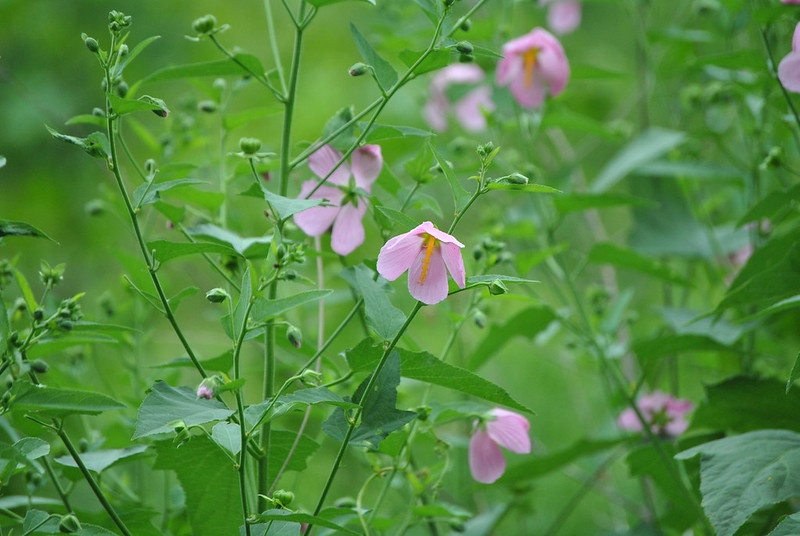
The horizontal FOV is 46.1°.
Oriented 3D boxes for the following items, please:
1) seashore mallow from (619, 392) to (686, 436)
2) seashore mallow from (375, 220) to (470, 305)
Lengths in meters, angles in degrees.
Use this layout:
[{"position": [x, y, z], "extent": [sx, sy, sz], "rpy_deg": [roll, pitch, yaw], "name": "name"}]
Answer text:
[{"position": [0.676, 0.385, 2.423], "extent": [0.175, 0.038, 0.170], "rpy_deg": [-30, 16, -37], "name": "seashore mallow"}, {"position": [0.066, -0.031, 1.936], "extent": [0.178, 0.091, 0.173], "rpy_deg": [-2, -1, -42], "name": "seashore mallow"}]
